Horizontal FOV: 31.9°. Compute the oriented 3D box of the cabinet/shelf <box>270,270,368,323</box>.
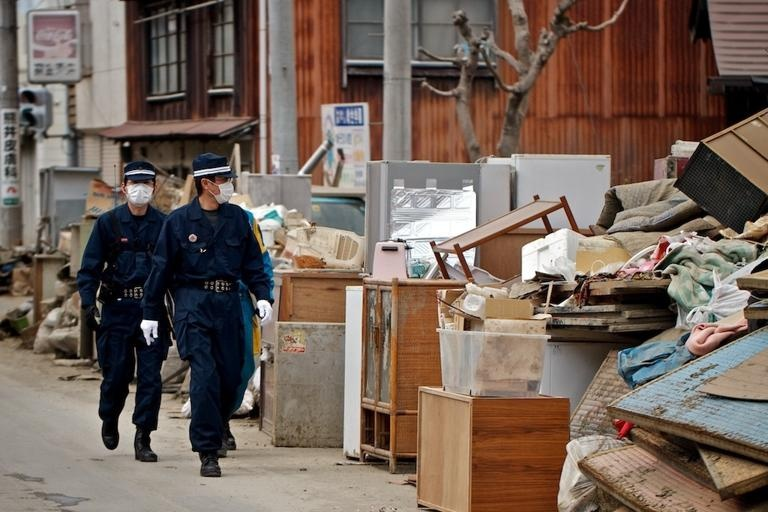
[{"bbox_3d":[-0.844,0.595,16.410,0.829,0.803,0.536,6,10,-14],"label":"cabinet/shelf"}]

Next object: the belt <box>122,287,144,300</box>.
[{"bbox_3d":[-2.861,0.434,15.312,0.205,0.083,0.149,-1,-4,2],"label":"belt"}]

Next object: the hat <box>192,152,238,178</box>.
[{"bbox_3d":[-1.905,-1.001,14.970,0.369,0.188,0.277,0,2,-6],"label":"hat"}]

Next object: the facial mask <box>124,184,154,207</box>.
[{"bbox_3d":[-2.799,-0.688,15.378,0.238,0.205,0.248,-1,-1,-15],"label":"facial mask"}]

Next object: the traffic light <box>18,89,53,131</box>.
[{"bbox_3d":[-8.713,-3.491,33.393,0.738,1.344,0.752,-2,-10,2],"label":"traffic light"}]

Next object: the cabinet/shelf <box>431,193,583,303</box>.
[{"bbox_3d":[1.328,-0.219,15.955,1.777,1.091,1.054,2,-2,-33],"label":"cabinet/shelf"}]

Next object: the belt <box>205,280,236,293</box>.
[{"bbox_3d":[-1.805,0.336,14.805,0.356,0.142,0.083,1,-2,-10],"label":"belt"}]

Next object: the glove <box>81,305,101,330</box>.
[{"bbox_3d":[-3.321,0.709,15.437,0.225,0.289,0.289,0,-4,-43],"label":"glove"}]

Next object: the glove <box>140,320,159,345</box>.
[{"bbox_3d":[-2.567,0.835,14.932,0.257,0.267,0.187,-1,6,-33],"label":"glove"}]

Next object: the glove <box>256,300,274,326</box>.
[{"bbox_3d":[-1.358,0.631,15.064,0.183,0.266,0.105,3,-6,-35],"label":"glove"}]

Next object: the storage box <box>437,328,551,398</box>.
[{"bbox_3d":[1.099,1.108,14.011,0.953,0.653,1.305,9,-6,-26],"label":"storage box"}]

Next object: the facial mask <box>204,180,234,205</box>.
[{"bbox_3d":[-1.825,-0.705,14.985,0.252,0.203,0.221,-8,6,3],"label":"facial mask"}]

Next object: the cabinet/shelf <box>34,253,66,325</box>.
[{"bbox_3d":[-5.459,0.581,21.918,0.512,1.278,1.035,0,-3,-5],"label":"cabinet/shelf"}]

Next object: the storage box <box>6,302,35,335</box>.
[{"bbox_3d":[-6.089,1.069,22.546,0.390,0.367,0.525,-28,0,7],"label":"storage box"}]

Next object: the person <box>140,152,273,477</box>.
[{"bbox_3d":[-1.944,0.634,14.821,1.391,3.503,0.535,1,-2,-11],"label":"person"}]
